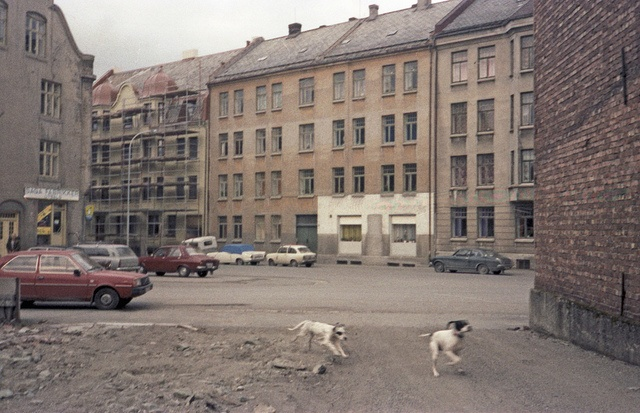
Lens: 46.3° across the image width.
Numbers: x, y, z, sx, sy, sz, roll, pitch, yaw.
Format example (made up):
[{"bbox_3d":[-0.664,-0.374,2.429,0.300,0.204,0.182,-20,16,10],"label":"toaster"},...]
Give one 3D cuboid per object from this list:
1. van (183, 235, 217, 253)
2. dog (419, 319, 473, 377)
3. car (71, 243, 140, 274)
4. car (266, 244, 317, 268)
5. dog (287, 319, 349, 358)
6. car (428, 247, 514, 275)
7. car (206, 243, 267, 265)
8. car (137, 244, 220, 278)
[{"bbox_3d":[-8.483,2.634,54.282,2.528,1.426,1.538,6,7,35],"label":"van"},{"bbox_3d":[3.474,3.965,21.102,0.677,1.463,2.238,3,-10,-36],"label":"dog"},{"bbox_3d":[-10.608,2.367,36.823,3.111,1.347,1.792,2,1,14],"label":"car"},{"bbox_3d":[-1.811,3.302,50.937,2.814,1.086,1.477,0,-2,38],"label":"car"},{"bbox_3d":[0.084,3.756,21.994,0.909,1.023,1.937,-5,10,-36],"label":"dog"},{"bbox_3d":[8.731,3.130,42.908,3.775,1.119,1.735,-1,-4,33],"label":"car"},{"bbox_3d":[-5.742,3.385,52.796,3.423,1.106,1.665,1,-1,26],"label":"car"},{"bbox_3d":[-7.778,3.022,41.107,4.024,1.355,1.852,1,-1,21],"label":"car"}]
